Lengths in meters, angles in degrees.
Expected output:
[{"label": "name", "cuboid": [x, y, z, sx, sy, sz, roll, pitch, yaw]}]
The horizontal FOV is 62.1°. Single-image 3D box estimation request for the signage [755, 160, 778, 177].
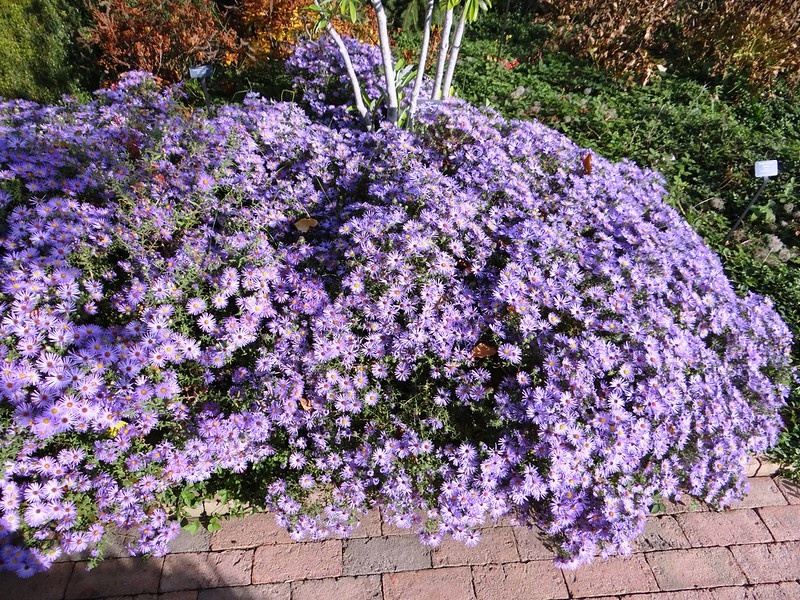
[{"label": "signage", "cuboid": [2.946, -1.078, 5.405, 0.224, 0.055, 0.175, -5, 103, -20]}]
